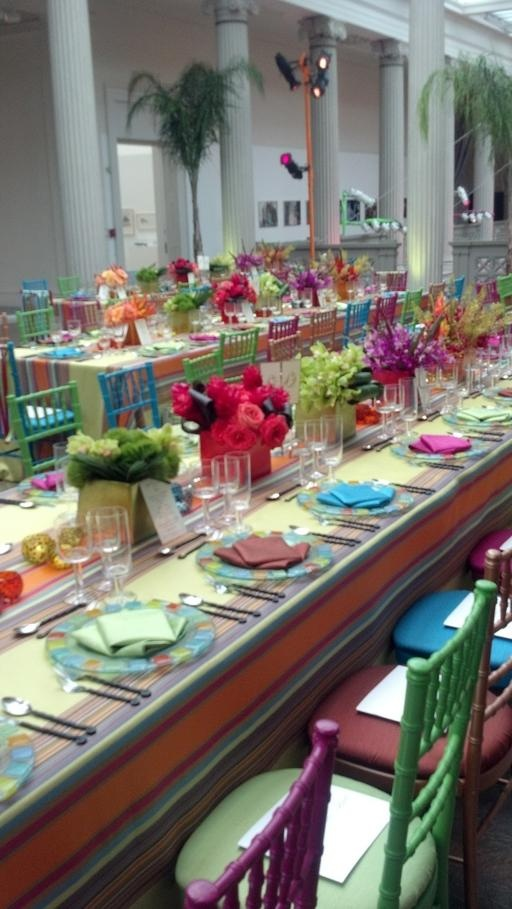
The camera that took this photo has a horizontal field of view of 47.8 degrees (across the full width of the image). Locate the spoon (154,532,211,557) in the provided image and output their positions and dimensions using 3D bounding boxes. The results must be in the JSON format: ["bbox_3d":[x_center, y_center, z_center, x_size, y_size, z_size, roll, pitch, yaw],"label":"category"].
[{"bbox_3d":[-0.218,0.228,1.609,0.045,0.031,0.196,13,15,21],"label":"spoon"}]

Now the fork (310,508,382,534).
[{"bbox_3d":[0.280,0.207,1.782,0.188,0.032,0.072,18,30,33],"label":"fork"}]

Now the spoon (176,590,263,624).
[{"bbox_3d":[-0.083,0.343,1.277,0.064,0.022,0.190,-13,17,-42],"label":"spoon"}]

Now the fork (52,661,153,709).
[{"bbox_3d":[-0.279,0.387,1.001,0.215,0.044,0.059,11,8,29],"label":"fork"}]

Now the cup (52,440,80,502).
[{"bbox_3d":[-0.592,0.056,1.747,0.088,0.167,0.091,0,-2,0],"label":"cup"}]

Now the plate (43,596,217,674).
[{"bbox_3d":[-0.247,0.352,1.128,0.324,0.052,0.234,-5,14,-14],"label":"plate"}]

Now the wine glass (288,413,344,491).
[{"bbox_3d":[0.214,0.003,2.052,0.164,0.296,0.171,-15,24,-29],"label":"wine glass"}]

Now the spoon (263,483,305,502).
[{"bbox_3d":[0.092,0.132,2.006,0.040,0.032,0.208,16,19,21],"label":"spoon"}]
